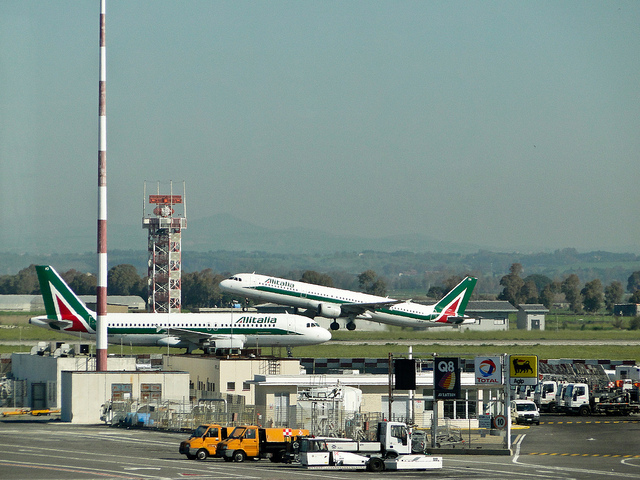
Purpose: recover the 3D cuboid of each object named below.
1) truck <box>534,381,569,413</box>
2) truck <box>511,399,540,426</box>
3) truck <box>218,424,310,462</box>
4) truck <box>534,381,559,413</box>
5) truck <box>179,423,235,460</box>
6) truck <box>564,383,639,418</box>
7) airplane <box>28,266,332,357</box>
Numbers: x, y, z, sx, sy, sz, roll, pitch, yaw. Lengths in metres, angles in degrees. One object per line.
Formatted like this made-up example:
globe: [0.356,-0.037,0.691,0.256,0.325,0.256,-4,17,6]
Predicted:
truck: [23.385,15.931,161.430,3.785,2.409,2.412,2,-7,-5]
truck: [19.561,16.477,151.258,2.262,2.210,2.225,3,-8,-32]
truck: [-4.982,16.981,130.327,6.458,2.474,3.106,2,-4,-5]
truck: [23.553,16.025,161.378,3.321,2.298,2.109,3,-6,-5]
truck: [-9.758,16.592,131.499,3.688,1.993,2.290,4,-6,-25]
truck: [27.914,16.060,158.389,6.582,2.565,2.976,2,-8,3]
airplane: [-15.290,8.034,173.877,32.261,10.595,26.980,0,-3,-1]
